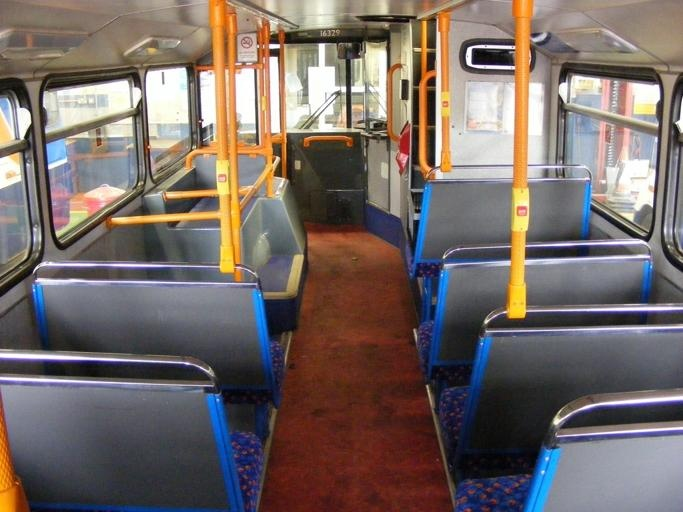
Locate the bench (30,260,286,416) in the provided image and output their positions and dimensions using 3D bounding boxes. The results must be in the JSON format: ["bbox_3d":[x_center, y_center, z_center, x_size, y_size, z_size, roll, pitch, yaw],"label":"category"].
[{"bbox_3d":[-1.155,0.588,4.153,1.694,1.229,1.026,2,18,3],"label":"bench"}]
